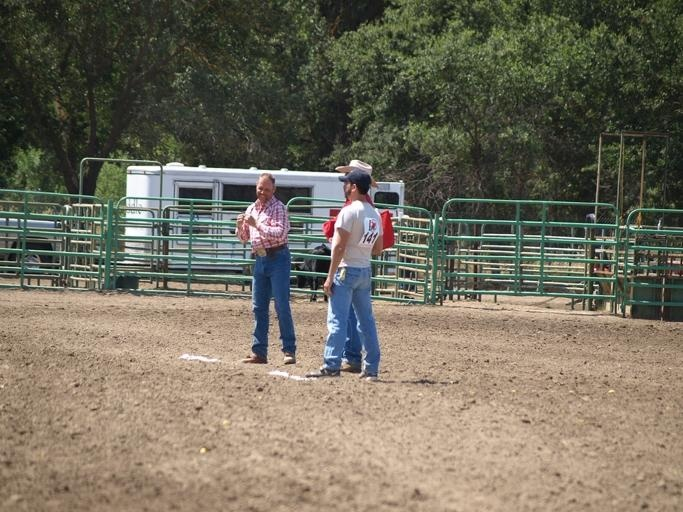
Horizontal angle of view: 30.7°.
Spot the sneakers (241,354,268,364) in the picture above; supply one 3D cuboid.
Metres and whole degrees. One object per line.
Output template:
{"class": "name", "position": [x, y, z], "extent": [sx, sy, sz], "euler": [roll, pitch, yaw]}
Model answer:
{"class": "sneakers", "position": [-1.787, 2.149, 25.773], "extent": [0.451, 0.226, 0.213], "euler": [7, -7, 2]}

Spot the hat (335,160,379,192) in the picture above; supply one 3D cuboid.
{"class": "hat", "position": [0.320, -1.870, 25.454], "extent": [0.785, 0.345, 0.713], "euler": [24, -5, 8]}

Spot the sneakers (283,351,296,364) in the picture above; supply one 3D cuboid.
{"class": "sneakers", "position": [-1.068, 2.115, 25.708], "extent": [0.249, 0.299, 0.159], "euler": [-1, -2, -1]}
